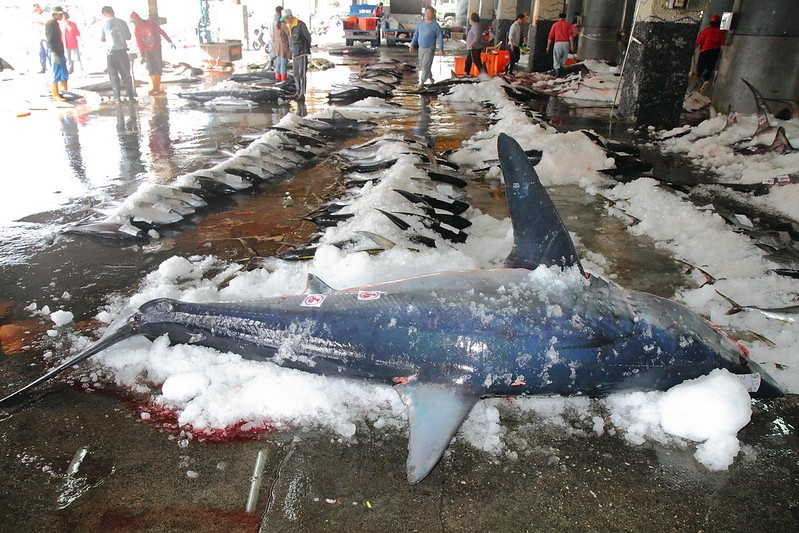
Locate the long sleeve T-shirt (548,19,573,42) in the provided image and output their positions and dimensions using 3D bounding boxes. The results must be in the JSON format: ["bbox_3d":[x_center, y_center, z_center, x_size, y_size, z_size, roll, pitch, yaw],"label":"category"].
[{"bbox_3d":[6.630,-9.593,19.665,0.755,0.815,0.866,7,28,11],"label":"long sleeve T-shirt"}]

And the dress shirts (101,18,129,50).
[{"bbox_3d":[-8.771,-7.193,14.994,0.822,0.961,0.522,-12,31,-23],"label":"dress shirts"}]

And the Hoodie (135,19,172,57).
[{"bbox_3d":[-8.715,-8.074,16.963,1.209,0.505,1.252,-23,65,-7],"label":"Hoodie"}]
